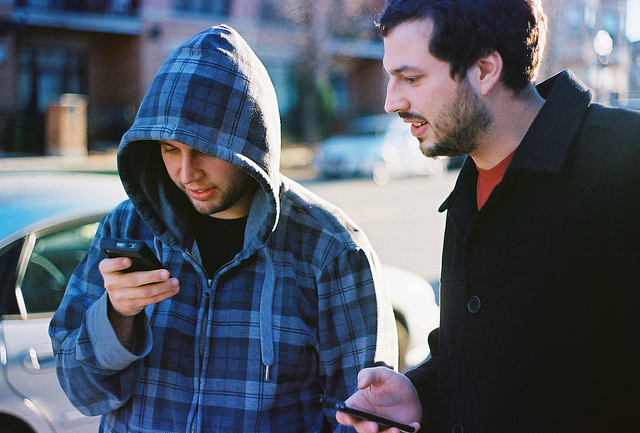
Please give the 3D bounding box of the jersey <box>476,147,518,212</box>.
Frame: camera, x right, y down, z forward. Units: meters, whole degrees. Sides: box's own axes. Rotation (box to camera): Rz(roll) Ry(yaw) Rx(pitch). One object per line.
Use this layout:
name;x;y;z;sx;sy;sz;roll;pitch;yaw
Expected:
jersey;0.809;-0.176;4.030;0.141;0.269;0.184;28;12;5

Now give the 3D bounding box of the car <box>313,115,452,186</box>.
car;1.420;-1.538;19.579;2.896;1.583;1.824;-4;8;-8

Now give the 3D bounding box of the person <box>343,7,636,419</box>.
person;0.869;0.033;3.899;1.226;1.936;0.706;5;16;22
